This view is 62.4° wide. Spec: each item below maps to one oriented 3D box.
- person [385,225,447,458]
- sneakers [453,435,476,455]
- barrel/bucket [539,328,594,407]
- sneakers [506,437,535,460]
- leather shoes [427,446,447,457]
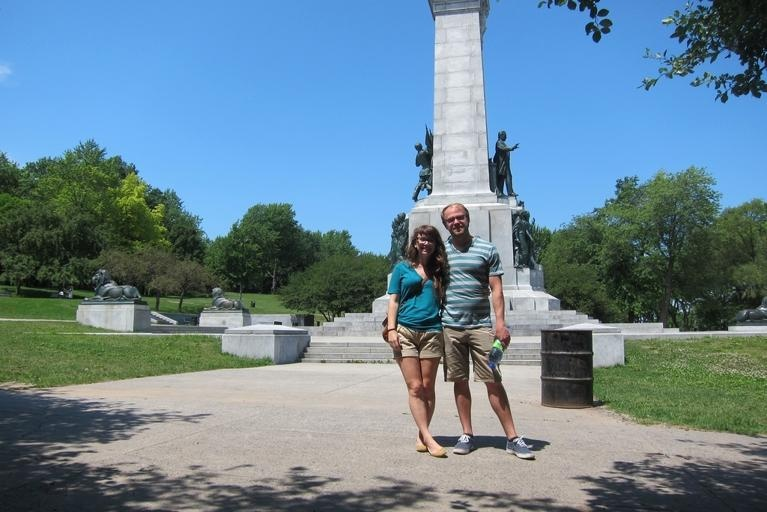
[{"bbox_3d":[0.427,1.024,7.919,0.798,2.796,0.364,3,-7,0],"label":"person"},{"bbox_3d":[1.029,2.314,7.881,0.390,0.234,0.175,8,-9,-40],"label":"sneakers"},{"bbox_3d":[3.248,1.954,11.202,0.889,1.378,0.468,1,-7,12],"label":"barrel/bucket"},{"bbox_3d":[1.664,2.319,7.718,0.366,0.239,0.194,0,-7,22],"label":"sneakers"},{"bbox_3d":[0.659,2.359,7.684,0.221,0.113,0.142,2,-7,3],"label":"leather shoes"}]
